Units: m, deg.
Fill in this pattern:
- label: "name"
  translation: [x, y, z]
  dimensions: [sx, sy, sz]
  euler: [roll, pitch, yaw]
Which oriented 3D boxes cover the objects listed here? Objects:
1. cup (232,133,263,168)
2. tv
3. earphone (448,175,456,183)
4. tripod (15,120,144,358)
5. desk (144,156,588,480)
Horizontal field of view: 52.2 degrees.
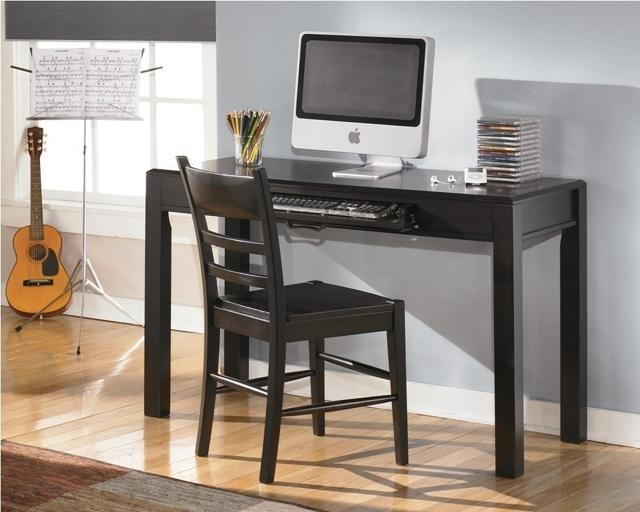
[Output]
- label: "cup"
  translation: [-0.298, -0.426, 2.668]
  dimensions: [0.136, 0.123, 0.122]
  euler: [-1, 8, -9]
- label: "tv"
  translation: [0.174, -0.582, 2.501]
  dimensions: [0.556, 0.505, 0.266]
  euler: [9, 22, 29]
- label: "earphone"
  translation: [0.461, -0.270, 2.284]
  dimensions: [0.027, 0.011, 0.036]
  euler: [6, 10, 4]
- label: "tripod"
  translation: [-1.630, -0.193, 3.877]
  dimensions: [0.818, 1.221, 0.520]
  euler: [2, 9, 15]
- label: "desk"
  translation: [0.042, 0.119, 2.430]
  dimensions: [1.270, 0.789, 0.508]
  euler: [5, 11, 11]
